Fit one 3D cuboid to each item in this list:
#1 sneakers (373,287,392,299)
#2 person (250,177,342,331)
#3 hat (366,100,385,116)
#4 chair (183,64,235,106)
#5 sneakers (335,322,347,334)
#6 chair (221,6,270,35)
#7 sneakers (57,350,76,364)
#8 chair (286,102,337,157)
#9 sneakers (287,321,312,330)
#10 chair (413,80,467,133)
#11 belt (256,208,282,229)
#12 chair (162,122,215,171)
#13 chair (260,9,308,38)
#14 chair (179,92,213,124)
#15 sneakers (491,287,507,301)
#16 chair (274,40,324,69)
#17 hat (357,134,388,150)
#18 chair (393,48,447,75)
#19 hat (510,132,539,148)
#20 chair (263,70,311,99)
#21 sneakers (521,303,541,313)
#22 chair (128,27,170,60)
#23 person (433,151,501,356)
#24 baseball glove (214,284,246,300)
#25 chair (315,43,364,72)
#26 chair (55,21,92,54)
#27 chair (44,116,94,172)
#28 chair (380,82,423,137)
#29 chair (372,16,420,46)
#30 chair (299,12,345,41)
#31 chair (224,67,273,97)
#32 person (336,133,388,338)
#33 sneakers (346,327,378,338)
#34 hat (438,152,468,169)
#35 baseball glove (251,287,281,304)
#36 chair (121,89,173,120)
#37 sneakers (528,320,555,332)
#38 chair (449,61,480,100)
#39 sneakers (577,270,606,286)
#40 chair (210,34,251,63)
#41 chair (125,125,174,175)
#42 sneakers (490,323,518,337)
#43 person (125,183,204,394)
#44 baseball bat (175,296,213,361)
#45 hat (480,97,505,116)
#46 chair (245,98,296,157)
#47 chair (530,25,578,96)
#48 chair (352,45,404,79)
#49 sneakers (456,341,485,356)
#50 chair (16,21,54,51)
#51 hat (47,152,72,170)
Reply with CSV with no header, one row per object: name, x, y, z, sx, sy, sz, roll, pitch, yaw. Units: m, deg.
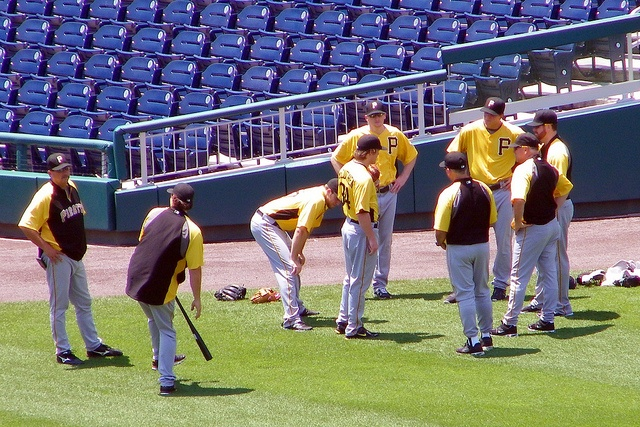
sneakers,0.842,1.108,16.352,0.280,0.108,0.112,2,3,38
person,-0.330,0.540,15.465,0.796,1.963,0.975,-4,5,-29
hat,0.754,-1.431,16.079,0.240,0.208,0.320,-1,4,2
chair,-1.851,-2.324,21.253,0.799,0.939,0.815,12,16,25
sneakers,0.265,1.478,15.223,0.183,0.158,0.090,2,11,-22
chair,-1.344,-3.820,23.085,0.694,0.808,0.739,10,14,34
sneakers,-3.138,1.797,14.719,0.278,0.103,0.125,3,3,5
chair,-0.070,-1.422,19.150,0.840,0.878,0.807,3,4,33
sneakers,-0.288,1.471,15.480,0.351,0.130,0.121,-2,1,12
chair,1.979,-1.769,18.988,0.880,0.898,0.749,-8,16,-42
belt,-0.686,0.053,15.582,0.244,0.055,0.228,32,0,13
chair,-2.135,-1.108,19.481,0.948,0.884,0.795,-1,-11,-3
chair,-0.651,-3.722,22.669,0.781,0.669,0.644,3,2,27
chair,-2.162,-1.839,20.468,0.549,0.425,0.499,2,-3,26
sneakers,2.431,1.100,16.014,0.126,0.132,0.324,3,6,20
chair,-0.339,-2.935,21.560,0.696,0.619,0.624,8,28,27
hat,0.631,-0.904,14.995,0.278,0.134,0.188,-7,15,-20
chair,1.820,-2.697,20.535,0.603,0.431,0.442,-1,4,6
hat,2.599,-0.944,14.926,0.278,0.142,0.188,1,4,15
chair,-0.494,-2.312,20.741,0.709,0.621,0.626,3,-5,34
sneakers,2.817,1.250,15.643,0.302,0.115,0.106,1,1,23
chair,-3.321,-3.331,22.881,0.726,0.518,0.650,4,7,13
person,1.779,0.495,14.505,0.680,2.502,0.278,-1,5,7
baseball glove,-1.233,1.105,16.434,0.316,0.111,0.217,-4,15,-27
chair,0.360,-2.797,21.154,0.693,0.393,0.684,7,20,31
chair,-4.980,-3.588,23.720,0.781,0.653,0.462,5,-17,10
chair,-4.238,-1.394,20.263,0.955,0.980,1.147,1,31,-13
chair,1.308,-1.747,19.224,0.619,0.776,0.757,5,12,35
chair,1.443,-3.363,21.610,0.703,0.400,0.679,11,19,38
chair,0.123,-3.620,22.486,0.775,0.682,0.677,6,0,33
chair,-1.162,-2.379,21.051,0.625,0.778,0.676,10,13,30
person,0.515,0.301,15.025,0.467,2.606,0.579,-4,5,-28
sneakers,0.553,1.541,15.199,0.469,0.162,0.148,-1,-1,-4
hat,1.646,-0.648,14.562,0.222,0.140,0.270,-7,17,-27
baseball glove,-0.766,1.146,16.401,0.343,0.133,0.195,0,4,-9
chair,-2.957,-1.926,20.579,0.757,0.652,0.639,4,-2,18
sneakers,2.839,1.442,15.112,0.334,0.128,0.131,3,2,14
chair,2.478,-2.261,19.781,0.620,0.664,0.600,-6,9,-38
sneakers,3.775,0.901,16.381,0.344,0.126,0.201,-10,3,3
chair,-1.666,-3.143,22.352,0.613,0.702,0.614,2,10,9
chair,-2.779,-0.999,19.190,0.823,0.785,0.525,-1,4,6
sneakers,2.350,1.496,15.060,0.366,0.163,0.144,2,1,5
person,-1.860,0.893,14.122,0.923,2.490,0.474,-2,5,-3
baseball bat,-1.628,1.506,15.137,0.107,1.063,0.081,-33,12,45
hat,2.345,-1.432,15.747,0.223,0.169,0.323,27,18,36
chair,-1.064,-1.345,19.470,0.782,0.963,0.855,2,1,31
chair,3.674,-2.430,18.729,0.729,1.007,0.450,-1,5,9
chair,1.087,-2.681,20.850,0.740,0.788,0.705,12,25,33
sneakers,1.870,1.670,14.642,0.370,0.162,0.151,2,1,29
chair,-5.864,-3.766,24.220,0.768,0.718,0.941,3,3,-6
hat,-3.347,-0.652,14.831,0.222,0.147,0.304,-17,8,-33
